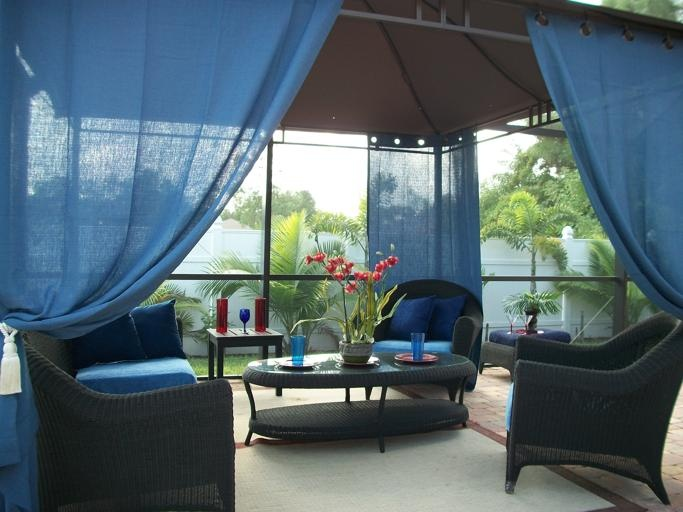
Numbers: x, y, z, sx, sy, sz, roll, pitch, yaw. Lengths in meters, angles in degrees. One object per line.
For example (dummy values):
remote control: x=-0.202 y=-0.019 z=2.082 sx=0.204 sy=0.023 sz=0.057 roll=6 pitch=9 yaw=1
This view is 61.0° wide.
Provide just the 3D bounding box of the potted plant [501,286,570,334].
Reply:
potted plant: x=2.656 y=0.753 z=7.973 sx=0.830 sy=0.582 sz=0.825 roll=1 pitch=-5 yaw=-4

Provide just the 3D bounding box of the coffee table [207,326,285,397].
coffee table: x=-0.866 y=0.862 z=5.058 sx=0.594 sy=0.547 sz=0.590 roll=0 pitch=-4 yaw=-17

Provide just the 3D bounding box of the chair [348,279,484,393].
chair: x=0.703 y=0.623 z=5.221 sx=1.052 sy=1.018 sz=0.925 roll=-2 pitch=-9 yaw=25

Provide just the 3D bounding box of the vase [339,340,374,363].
vase: x=0.094 y=0.634 z=3.881 sx=0.163 sy=0.094 sz=0.162 roll=1 pitch=-2 yaw=-1

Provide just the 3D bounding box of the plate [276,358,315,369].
plate: x=-0.295 y=0.687 z=3.772 sx=0.251 sy=0.041 sz=0.273 roll=1 pitch=2 yaw=-4
